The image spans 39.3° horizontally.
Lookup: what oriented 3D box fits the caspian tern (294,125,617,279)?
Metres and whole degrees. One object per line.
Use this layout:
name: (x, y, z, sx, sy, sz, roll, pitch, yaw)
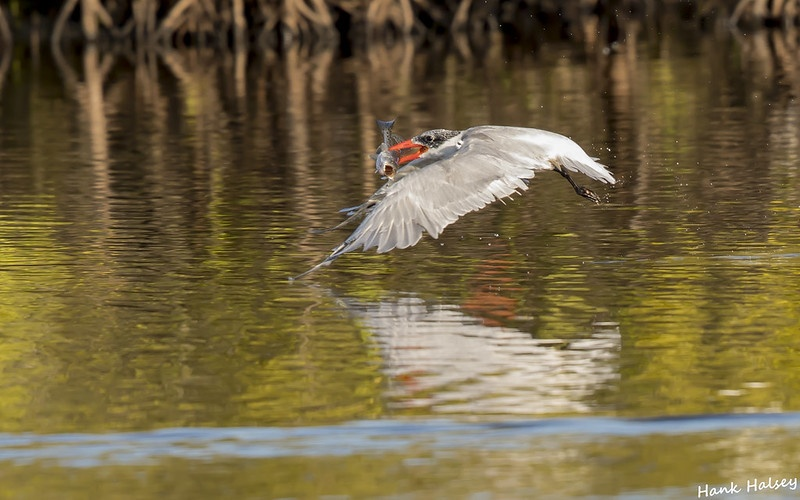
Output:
caspian tern: (0.487, -0.586, 9.425, 2.425, 0.641, 2.064, -11, 1, 13)
